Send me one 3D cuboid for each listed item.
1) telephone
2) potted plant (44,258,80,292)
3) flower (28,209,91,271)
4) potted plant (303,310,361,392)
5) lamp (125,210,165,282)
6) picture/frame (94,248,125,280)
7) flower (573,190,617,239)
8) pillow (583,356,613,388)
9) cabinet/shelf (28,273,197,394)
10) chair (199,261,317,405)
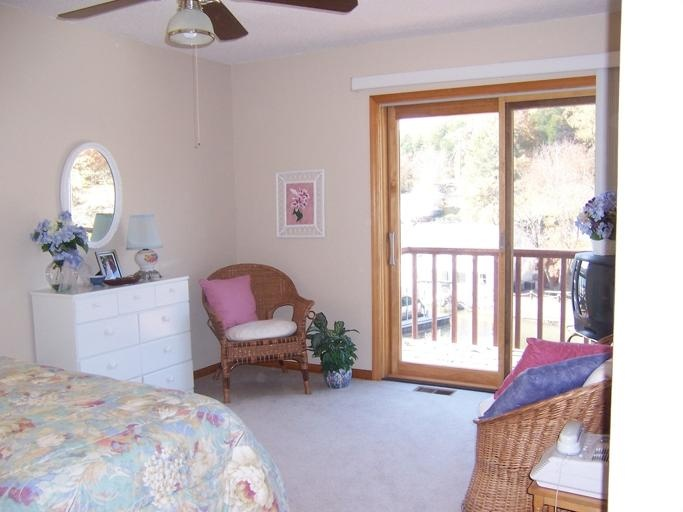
[{"bbox_3d":[0.728,0.653,1.585,0.194,0.067,0.153,2,15,30],"label":"telephone"},{"bbox_3d":[-1.777,0.130,3.200,0.194,0.270,0.198,1,-4,12],"label":"potted plant"},{"bbox_3d":[-1.817,-0.093,3.254,0.261,0.285,0.239,-7,11,-37],"label":"flower"},{"bbox_3d":[-0.160,0.763,4.184,0.527,0.738,0.521,-1,-2,35],"label":"potted plant"},{"bbox_3d":[-1.472,-0.064,3.755,0.232,0.477,0.448,-3,11,-22],"label":"lamp"},{"bbox_3d":[-1.682,0.065,3.626,0.066,0.232,0.200,-27,-5,22],"label":"picture/frame"},{"bbox_3d":[1.231,-0.186,2.422,0.177,0.227,0.247,7,11,28],"label":"flower"},{"bbox_3d":[0.937,0.433,1.833,0.080,0.110,0.158,7,11,28],"label":"pillow"},{"bbox_3d":[-1.469,0.477,3.161,0.321,0.719,0.835,0,3,25],"label":"cabinet/shelf"},{"bbox_3d":[-0.689,0.588,4.171,0.807,0.945,0.753,-2,3,-27],"label":"chair"}]
